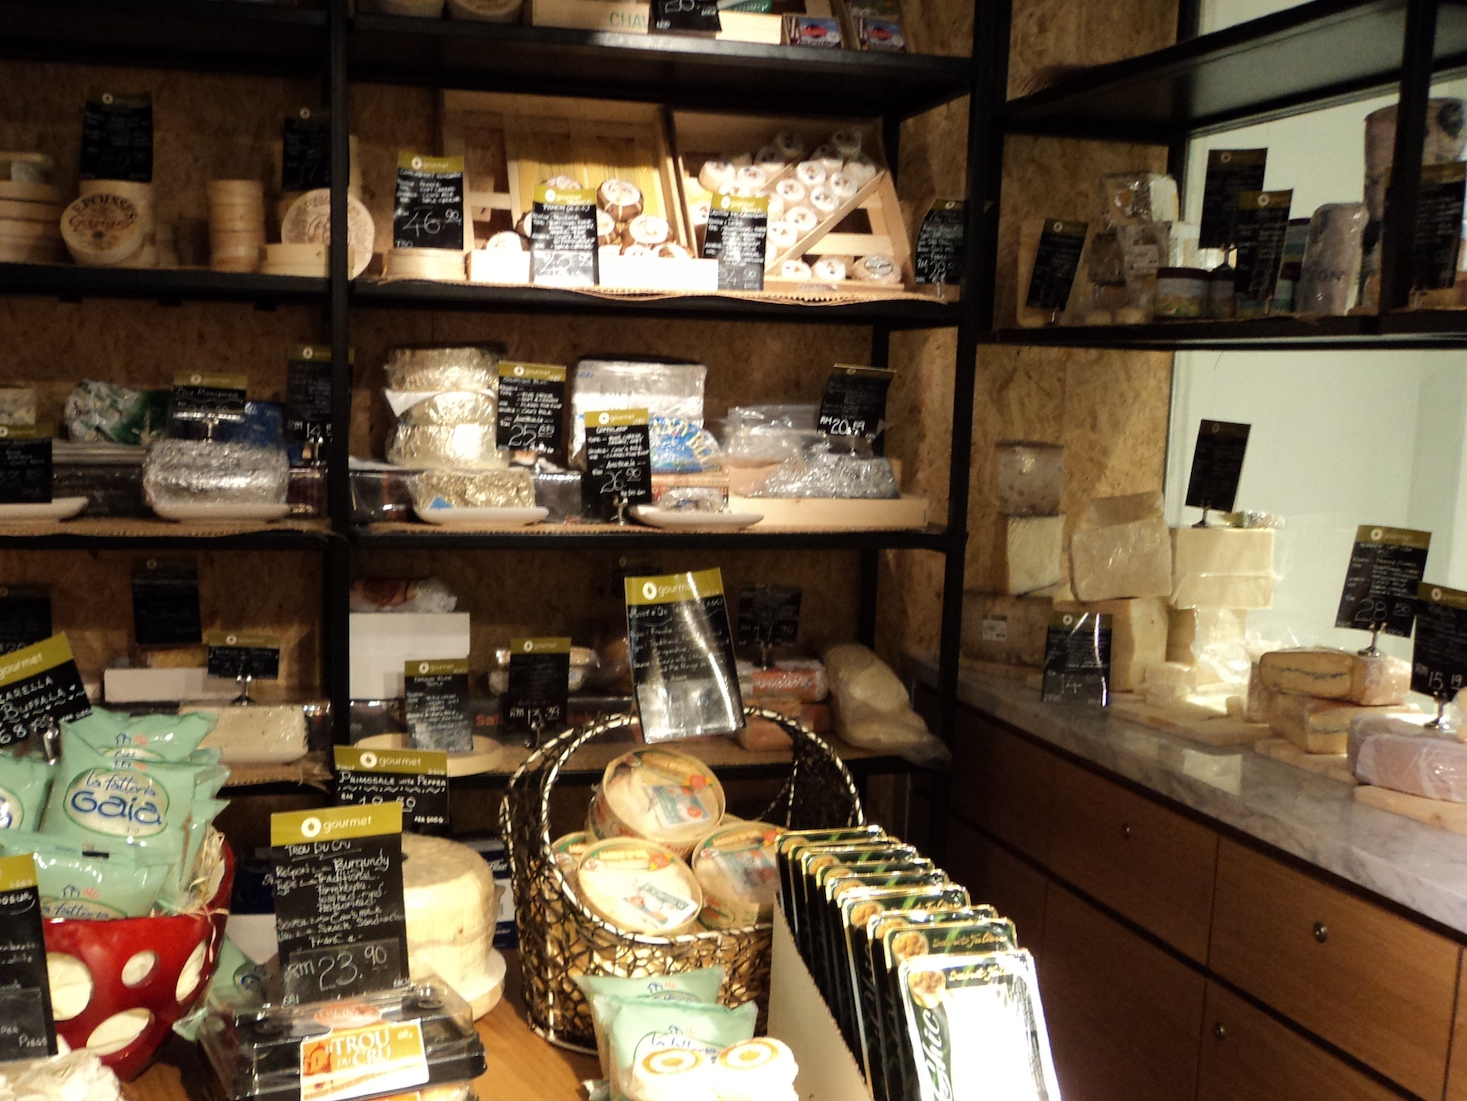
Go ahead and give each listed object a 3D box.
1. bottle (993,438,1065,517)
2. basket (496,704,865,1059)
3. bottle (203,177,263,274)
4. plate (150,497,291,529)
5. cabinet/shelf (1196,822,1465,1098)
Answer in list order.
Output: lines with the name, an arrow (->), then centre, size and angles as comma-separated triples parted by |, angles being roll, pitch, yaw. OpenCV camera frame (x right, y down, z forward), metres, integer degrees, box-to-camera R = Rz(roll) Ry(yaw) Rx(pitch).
bottle -> 0.903, -0.243, 3.378 | 0.203, 0.226, 0.224 | 8, 13, 38
basket -> -0.140, 0.564, 2.008 | 0.586, 0.545, 0.591 | 2, 6, -19
bottle -> -1.203, -0.802, 2.725 | 0.108, 0.169, 0.114 | 23, 20, -8
plate -> -1.231, -0.104, 2.636 | 0.307, 0.070, 0.204 | -5, 10, -25
cabinet/shelf -> 1.121, 0.755, 2.088 | 0.282, 0.227, 0.386 | 8, 11, -24
